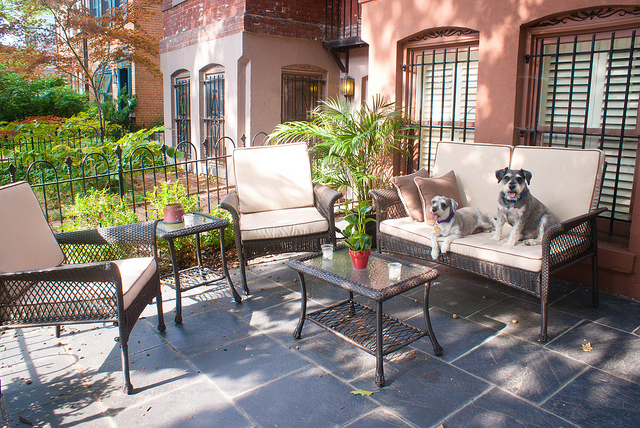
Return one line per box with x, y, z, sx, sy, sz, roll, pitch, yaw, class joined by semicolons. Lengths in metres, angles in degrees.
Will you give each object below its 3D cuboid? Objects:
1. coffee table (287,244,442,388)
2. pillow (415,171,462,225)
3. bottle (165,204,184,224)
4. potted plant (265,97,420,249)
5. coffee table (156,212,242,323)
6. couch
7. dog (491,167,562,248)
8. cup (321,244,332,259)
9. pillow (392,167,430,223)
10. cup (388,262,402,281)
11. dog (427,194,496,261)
0.396;0.848;4.033;0.923;0.816;1.302;-10;14;-32;coffee table
1.333;-0.163;5.035;0.553;0.540;0.164;-16;0;-25;pillow
-1.501;-0.006;4.479;0.188;0.168;0.194;2;4;26;bottle
0.320;-0.983;6.822;2.327;2.392;2.034;-12;16;-28;potted plant
-1.419;0.536;4.769;0.798;0.900;0.808;-12;11;-40;coffee table
1.906;0.112;5.010;1.402;1.590;2.251;-16;18;-33;couch
2.095;-0.111;4.404;0.751;0.800;0.454;-8;15;-23;dog
0.078;0.345;4.061;0.122;0.121;0.105;2;13;7;cup
1.086;-0.211;5.068;0.527;0.513;0.157;-17;-1;-35;pillow
0.633;0.479;3.667;0.125;0.128;0.128;-1;11;0;cup
1.515;0.055;4.752;1.162;0.576;0.504;-14;11;-38;dog
